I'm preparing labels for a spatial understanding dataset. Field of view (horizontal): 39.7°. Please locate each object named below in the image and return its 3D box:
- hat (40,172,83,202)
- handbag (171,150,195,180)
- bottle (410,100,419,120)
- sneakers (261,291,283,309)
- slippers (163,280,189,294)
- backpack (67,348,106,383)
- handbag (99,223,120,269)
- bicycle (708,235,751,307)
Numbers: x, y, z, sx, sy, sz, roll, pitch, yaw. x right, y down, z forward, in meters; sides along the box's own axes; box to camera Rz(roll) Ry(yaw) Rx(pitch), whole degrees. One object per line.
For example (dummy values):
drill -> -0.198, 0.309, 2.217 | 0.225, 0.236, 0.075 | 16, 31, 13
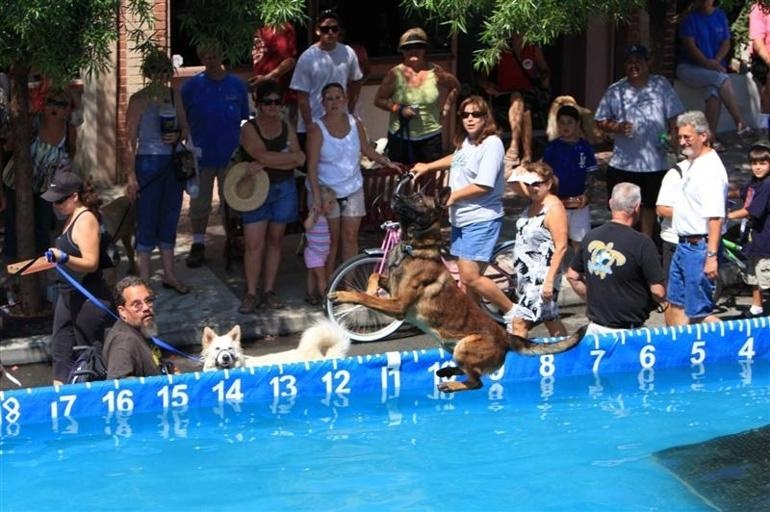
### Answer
hat -> -3.432, -0.719, 11.290 | 0.262, 0.242, 0.401 | 39, 48, 25
handbag -> -2.477, -1.088, 12.974 | 0.130, 0.325, 0.266 | -5, 14, 30
bottle -> 0.408, -1.896, 14.013 | 0.139, 0.181, 0.185 | 0, 1, 7
sneakers -> -1.378, 0.557, 13.034 | 0.132, 0.130, 0.291 | -5, 10, -31
slippers -> -2.612, 0.390, 13.297 | 0.299, 0.088, 0.152 | 14, 23, 27
backpack -> -3.013, 1.117, 10.801 | 0.309, 0.414, 0.159 | -7, -23, 20
handbag -> -2.880, -0.088, 11.082 | 0.181, 0.471, 0.346 | -5, 8, -8
bicycle -> 4.219, 0.266, 13.660 | 0.592, 0.871, 1.337 | -3, -4, 27
